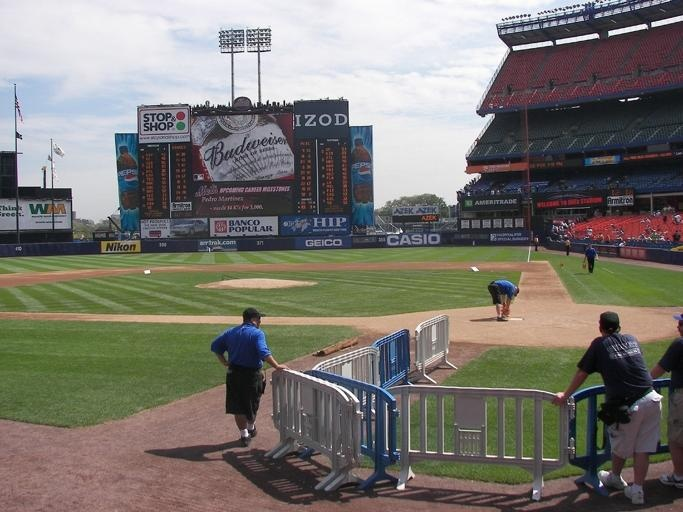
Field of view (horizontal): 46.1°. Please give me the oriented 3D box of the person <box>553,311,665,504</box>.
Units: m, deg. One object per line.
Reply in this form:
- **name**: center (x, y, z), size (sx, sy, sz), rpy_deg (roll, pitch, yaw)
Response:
- **person**: center (4.138, 2.222, 12.004), size (1.227, 2.757, 0.589), rpy_deg (1, 3, 18)

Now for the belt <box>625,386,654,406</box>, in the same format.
- **belt**: center (4.394, 2.039, 11.883), size (0.351, 0.156, 0.244), rpy_deg (-27, -8, 2)

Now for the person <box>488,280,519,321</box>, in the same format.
- **person**: center (4.621, 1.179, 22.774), size (1.174, 1.157, 1.130), rpy_deg (2, 9, 19)

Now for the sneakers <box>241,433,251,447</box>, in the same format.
- **sneakers**: center (-1.631, 3.088, 13.557), size (0.193, 0.185, 0.148), rpy_deg (-1, 3, -24)

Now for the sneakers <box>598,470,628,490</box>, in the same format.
- **sneakers**: center (4.120, 3.369, 12.165), size (0.238, 0.176, 0.420), rpy_deg (-6, 12, -21)

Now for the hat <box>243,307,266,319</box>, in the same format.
- **hat**: center (-1.531, 0.994, 13.750), size (0.327, 0.270, 0.248), rpy_deg (-5, 10, -21)

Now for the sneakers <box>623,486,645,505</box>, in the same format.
- **sneakers**: center (4.325, 3.487, 11.770), size (0.175, 0.218, 0.354), rpy_deg (-2, 8, 5)

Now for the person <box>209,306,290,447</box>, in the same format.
- **person**: center (-1.625, 2.022, 13.613), size (0.650, 2.290, 1.193), rpy_deg (-3, 4, -43)
